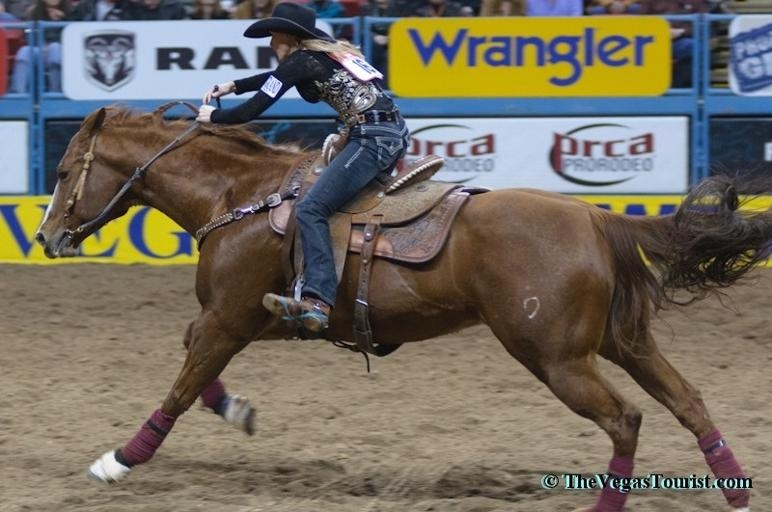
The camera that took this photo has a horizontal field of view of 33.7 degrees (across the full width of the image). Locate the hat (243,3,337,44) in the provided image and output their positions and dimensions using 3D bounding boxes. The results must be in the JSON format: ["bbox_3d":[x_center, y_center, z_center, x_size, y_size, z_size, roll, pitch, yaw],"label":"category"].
[{"bbox_3d":[-0.713,-1.783,9.606,0.598,0.146,0.370,6,5,2],"label":"hat"}]
